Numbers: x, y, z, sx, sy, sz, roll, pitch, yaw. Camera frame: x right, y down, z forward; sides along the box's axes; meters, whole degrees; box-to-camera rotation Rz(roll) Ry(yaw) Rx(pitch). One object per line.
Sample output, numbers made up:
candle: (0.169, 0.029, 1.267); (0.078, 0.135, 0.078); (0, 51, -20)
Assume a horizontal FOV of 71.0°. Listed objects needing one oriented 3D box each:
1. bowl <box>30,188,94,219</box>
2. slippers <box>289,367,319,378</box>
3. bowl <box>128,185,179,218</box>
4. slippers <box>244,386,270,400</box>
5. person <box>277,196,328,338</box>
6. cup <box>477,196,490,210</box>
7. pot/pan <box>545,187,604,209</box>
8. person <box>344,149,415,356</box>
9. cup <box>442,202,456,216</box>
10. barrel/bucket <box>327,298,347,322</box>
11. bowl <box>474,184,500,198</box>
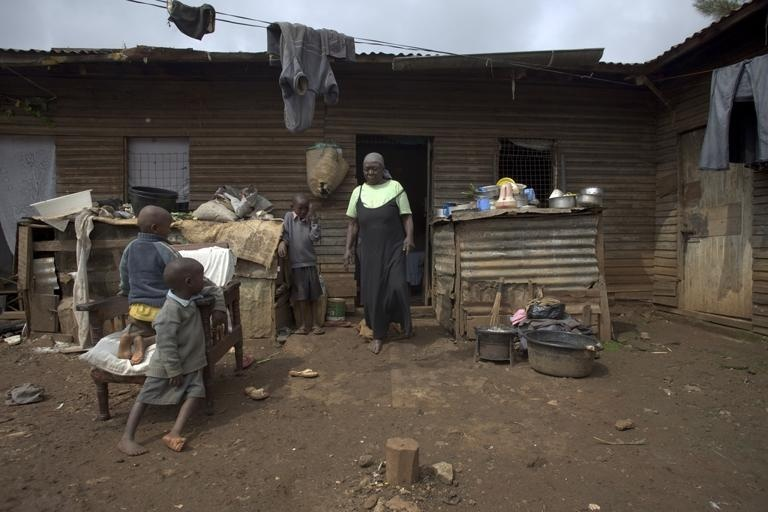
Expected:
bowl: (-4.890, -0.770, 8.226); (0.762, 0.390, 0.512); (-3, 14, -14)
slippers: (-1.056, 1.525, 7.062); (0.388, 0.114, 0.131); (0, 3, -1)
bowl: (-3.539, -0.890, 8.235); (0.716, 0.409, 0.691); (4, 7, -1)
slippers: (-1.552, 1.663, 6.560); (0.273, 0.091, 0.261); (-5, 14, -23)
person: (-1.311, 0.124, 8.390); (0.636, 2.119, 0.713); (-2, 15, -7)
cup: (1.488, -0.795, 8.118); (0.208, 0.184, 0.203); (1, 9, 0)
pot/pan: (2.873, -0.844, 8.059); (0.601, 0.214, 0.416); (2, 2, 8)
person: (-0.044, -0.070, 7.871); (0.881, 2.789, 0.950); (-5, 15, -19)
cup: (1.059, -0.755, 8.584); (0.260, 0.240, 0.235); (-3, 17, -14)
barrel/bucket: (-0.761, 0.911, 9.099); (0.352, 0.349, 0.353); (2, 2, 0)
bowl: (1.594, -1.008, 8.432); (0.198, 0.217, 0.463); (-6, 14, -22)
